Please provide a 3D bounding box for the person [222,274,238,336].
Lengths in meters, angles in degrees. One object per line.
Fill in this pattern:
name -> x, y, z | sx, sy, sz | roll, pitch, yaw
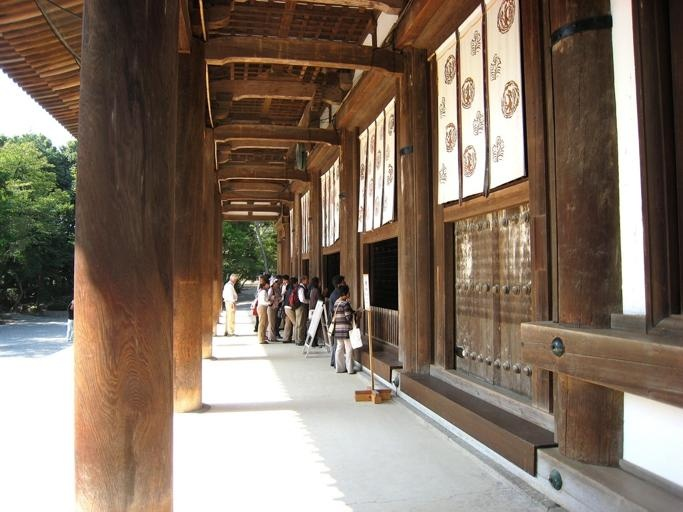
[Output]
person -> -2.829, 1.264, 14.365 | 0.294, 1.612, 1.463 | 0, 0, -11

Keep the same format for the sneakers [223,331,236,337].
sneakers -> -2.918, 2.064, 14.824 | 0.106, 0.169, 0.324 | 3, 4, 36
